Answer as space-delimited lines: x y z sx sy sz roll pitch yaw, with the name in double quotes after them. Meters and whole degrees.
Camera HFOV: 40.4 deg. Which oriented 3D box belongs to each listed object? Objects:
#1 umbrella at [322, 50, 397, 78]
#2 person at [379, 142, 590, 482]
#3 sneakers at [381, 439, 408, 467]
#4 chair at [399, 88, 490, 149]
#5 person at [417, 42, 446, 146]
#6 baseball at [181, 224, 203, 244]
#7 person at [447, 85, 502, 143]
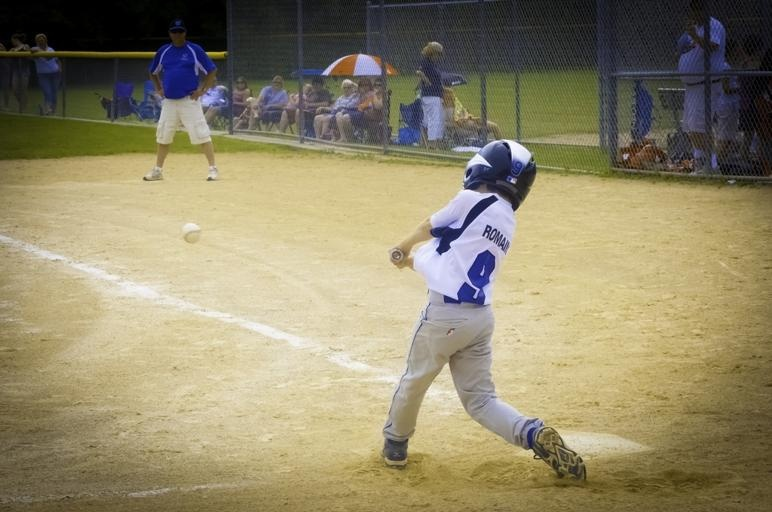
-0.604 -3.645 19.837 1.044 0.347 0.970 -2 7 -1 "umbrella"
0.701 0.405 8.226 1.391 2.649 0.524 2 8 0 "person"
0.061 1.599 8.298 0.128 0.119 0.301 1 7 -1 "sneakers"
1.006 -2.378 18.318 1.764 0.894 0.911 -2 25 5 "chair"
0.758 -2.791 17.891 0.495 1.749 0.877 3 8 2 "person"
-2.182 -0.273 11.755 0.229 0.199 0.244 -3 22 -18 "baseball"
1.410 -2.446 17.896 0.907 0.916 0.707 4 8 11 "person"
